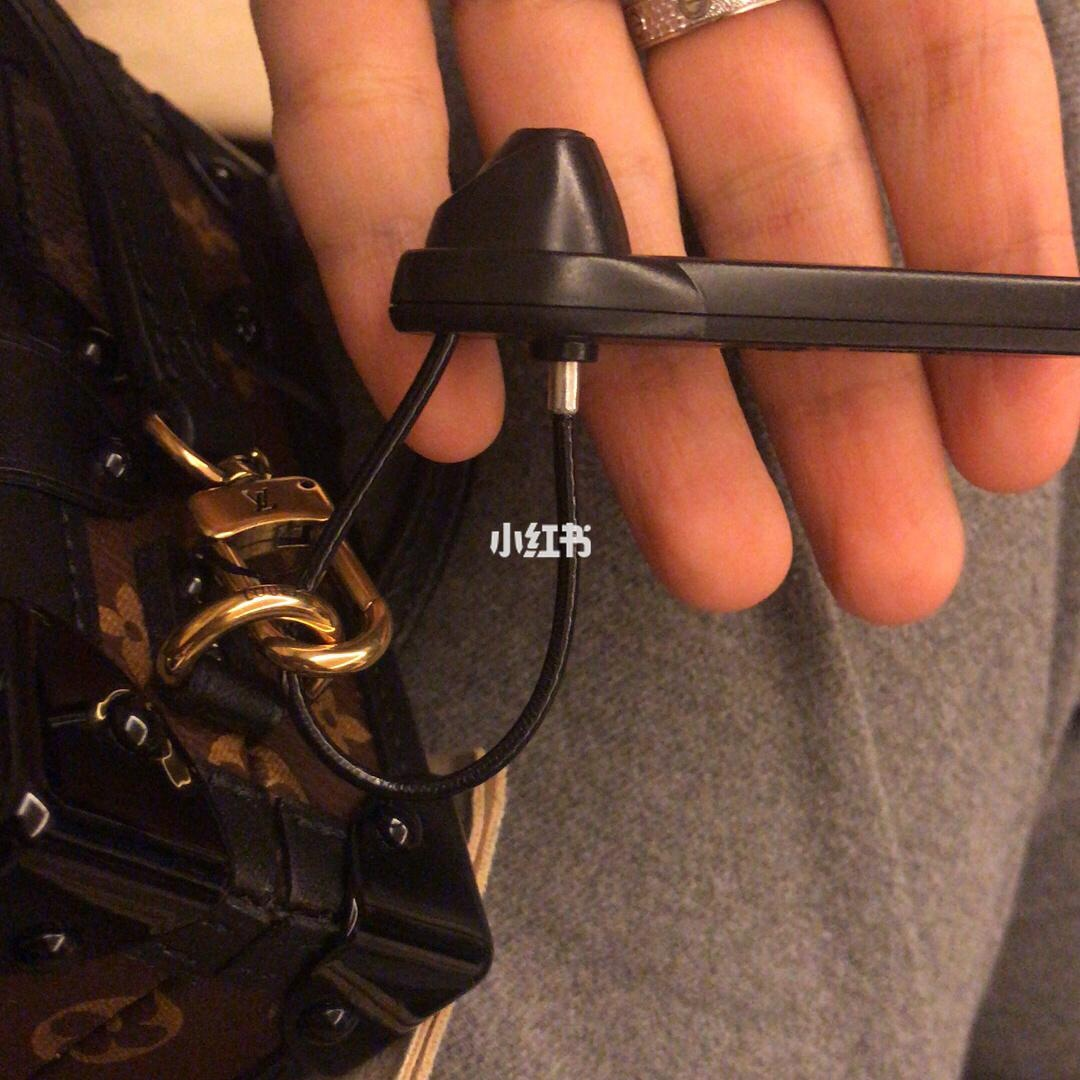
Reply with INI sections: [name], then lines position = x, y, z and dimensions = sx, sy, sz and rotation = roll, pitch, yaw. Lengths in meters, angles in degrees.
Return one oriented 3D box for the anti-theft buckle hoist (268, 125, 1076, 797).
[anti-theft buckle hoist]
position = 0.038, -0.085, 0.424
dimensions = 0.302, 0.096, 0.121
rotation = -20, 59, -2
